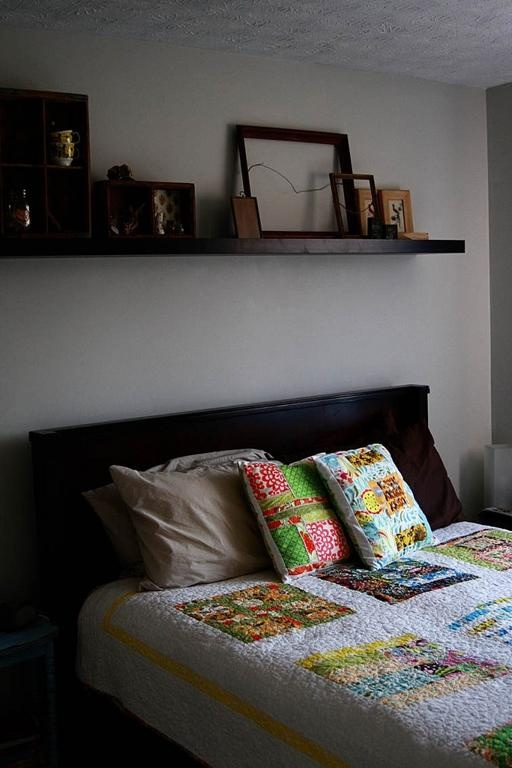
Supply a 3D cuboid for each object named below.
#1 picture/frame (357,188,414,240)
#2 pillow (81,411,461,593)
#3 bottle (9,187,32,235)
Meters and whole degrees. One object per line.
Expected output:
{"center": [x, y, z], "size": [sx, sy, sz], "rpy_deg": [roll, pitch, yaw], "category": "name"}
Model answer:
{"center": [0.568, -0.761, 2.799], "size": [0.286, 0.248, 0.020], "rpy_deg": [4, -7, -43], "category": "picture/frame"}
{"center": [0.374, 0.562, 3.081], "size": [1.185, 0.456, 0.160], "rpy_deg": [-13, -15, -37], "category": "pillow"}
{"center": [-0.694, -0.516, 1.849], "size": [0.032, 0.142, 0.079], "rpy_deg": [-3, 0, 24], "category": "bottle"}
